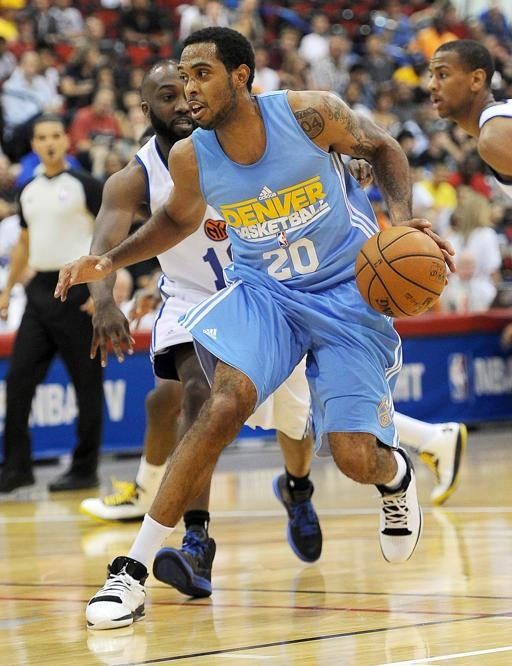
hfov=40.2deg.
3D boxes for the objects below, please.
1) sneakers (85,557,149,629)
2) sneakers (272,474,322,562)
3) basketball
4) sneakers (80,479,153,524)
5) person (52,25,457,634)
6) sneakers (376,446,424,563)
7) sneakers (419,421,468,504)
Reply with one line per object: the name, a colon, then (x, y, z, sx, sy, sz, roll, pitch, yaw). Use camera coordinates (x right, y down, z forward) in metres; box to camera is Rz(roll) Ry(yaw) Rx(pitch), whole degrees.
sneakers: (-0.313, 0.654, 1.735, 0.090, 0.118, 0.215, -2, -6, 11)
sneakers: (0.160, 0.734, 2.778, 0.116, 0.137, 0.341, 0, 49, -32)
basketball: (0.394, -0.164, 1.945, 0.257, 0.234, 0.193, 6, 41, 13)
sneakers: (-0.801, 0.944, 3.921, 0.568, 0.221, 0.177, 3, -5, 2)
person: (0.017, -0.026, 2.099, 1.004, 1.507, 1.277, 2, 40, 9)
sneakers: (0.472, 0.543, 2.277, 0.143, 0.384, 0.161, 1, 13, 21)
sneakers: (1.112, 0.793, 4.129, 0.266, 0.525, 0.182, 5, 30, 3)
